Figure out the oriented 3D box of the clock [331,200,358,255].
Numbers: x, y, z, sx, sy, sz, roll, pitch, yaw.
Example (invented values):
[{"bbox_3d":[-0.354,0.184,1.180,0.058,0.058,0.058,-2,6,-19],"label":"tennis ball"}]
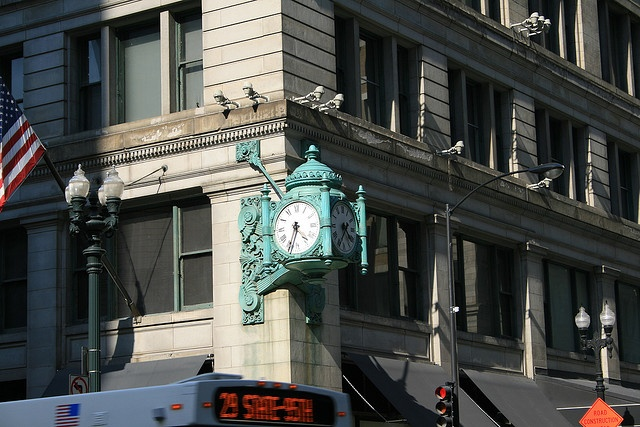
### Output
[{"bbox_3d":[0.898,0.553,76.661,0.336,1.732,1.213,-13,-21,34],"label":"clock"}]
